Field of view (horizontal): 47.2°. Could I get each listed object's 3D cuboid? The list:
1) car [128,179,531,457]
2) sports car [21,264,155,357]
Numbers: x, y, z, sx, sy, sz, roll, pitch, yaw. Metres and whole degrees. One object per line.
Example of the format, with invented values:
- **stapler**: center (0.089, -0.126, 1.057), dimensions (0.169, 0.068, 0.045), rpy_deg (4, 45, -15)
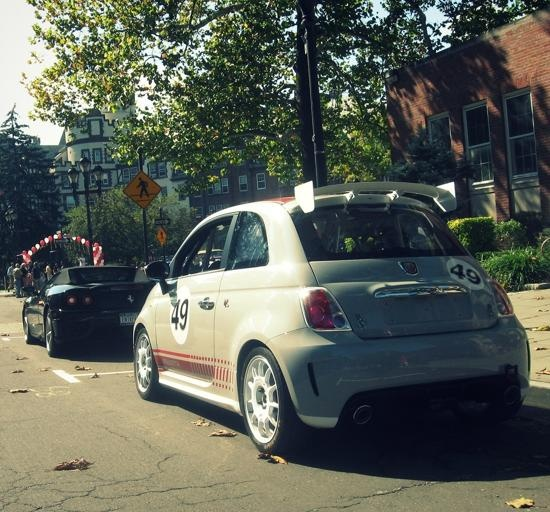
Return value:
- **car**: center (0.212, 0.395, 5.122), dimensions (3.256, 1.924, 1.557), rpy_deg (2, 5, 44)
- **sports car**: center (-3.402, 0.879, 10.993), dimensions (1.503, 1.471, 3.756), rpy_deg (-1, 0, -35)
